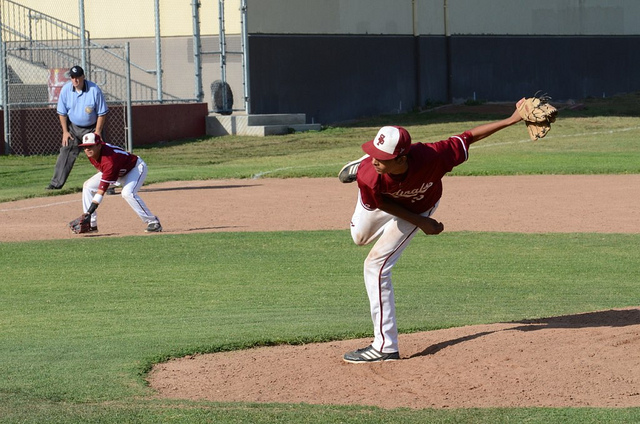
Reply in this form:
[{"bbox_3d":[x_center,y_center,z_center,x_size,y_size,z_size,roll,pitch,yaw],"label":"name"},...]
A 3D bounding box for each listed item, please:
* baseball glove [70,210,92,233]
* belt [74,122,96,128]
[{"bbox_3d":[-5.215,0.230,25.348,0.534,0.347,0.231,-25,-27,35],"label":"baseball glove"},{"bbox_3d":[-5.609,-2.070,27.964,0.445,0.097,0.080,-4,7,-12],"label":"belt"}]
